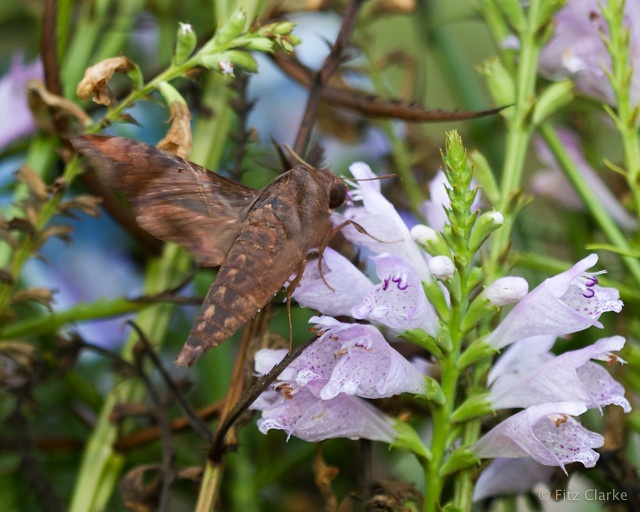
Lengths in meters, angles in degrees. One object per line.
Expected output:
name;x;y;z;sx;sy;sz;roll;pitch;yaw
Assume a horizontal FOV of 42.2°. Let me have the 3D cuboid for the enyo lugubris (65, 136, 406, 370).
enyo lugubris;-0.085;-0.009;0.733;0.233;0.170;0.177;7;3;-44
